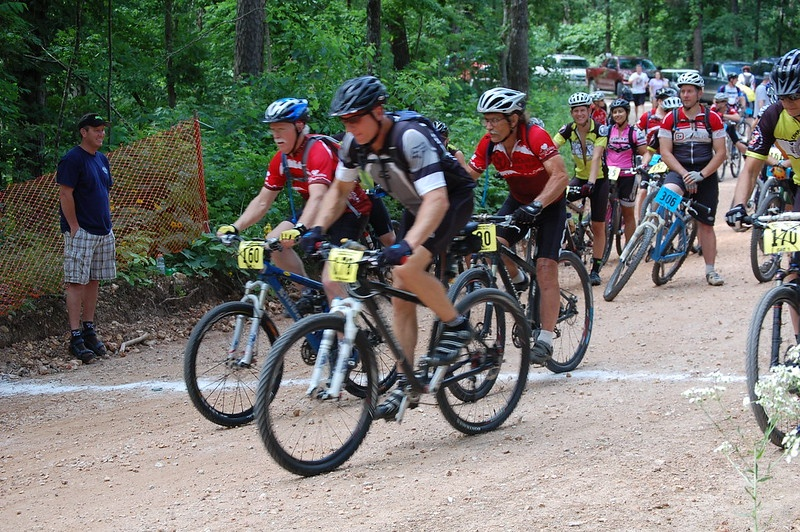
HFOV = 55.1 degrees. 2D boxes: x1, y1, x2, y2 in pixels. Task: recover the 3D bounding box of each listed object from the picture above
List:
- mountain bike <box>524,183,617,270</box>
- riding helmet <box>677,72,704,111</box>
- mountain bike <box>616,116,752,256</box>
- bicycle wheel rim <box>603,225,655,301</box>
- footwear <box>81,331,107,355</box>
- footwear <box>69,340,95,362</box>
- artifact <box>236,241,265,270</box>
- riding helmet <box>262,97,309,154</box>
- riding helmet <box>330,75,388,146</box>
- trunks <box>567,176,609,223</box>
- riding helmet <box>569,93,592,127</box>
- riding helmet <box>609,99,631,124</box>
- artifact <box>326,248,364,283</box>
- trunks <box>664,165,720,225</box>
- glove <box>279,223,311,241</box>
[{"bbox_3d":[3.207,-0.678,13.120,1.217,1.445,2.485,2,4,43],"label":"mountain bike"},{"bbox_3d":[4.141,-2.484,10.936,0.311,0.534,0.364,0,13,21],"label":"riding helmet"},{"bbox_3d":[4.022,-1.210,11.254,1.221,1.427,2.433,8,15,37],"label":"mountain bike"},{"bbox_3d":[3.540,-0.026,11.811,0.213,0.864,0.919,39,15,9],"label":"bicycle wheel rim"},{"bbox_3d":[-3.845,0.960,9.594,0.450,0.183,0.163,21,29,32],"label":"footwear"},{"bbox_3d":[-3.949,1.052,9.486,0.429,0.183,0.158,30,51,35],"label":"footwear"},{"bbox_3d":[-1.475,-0.111,7.609,0.317,0.265,0.273,3,14,4],"label":"artifact"},{"bbox_3d":[-1.218,-1.433,7.915,0.446,0.526,0.574,-2,12,39],"label":"riding helmet"},{"bbox_3d":[-0.338,-1.301,6.427,0.456,0.507,0.576,6,27,40],"label":"riding helmet"},{"bbox_3d":[3.010,-1.041,12.088,0.491,0.469,0.794,5,9,28],"label":"trunks"},{"bbox_3d":[2.726,-2.352,11.574,0.404,0.473,0.498,-4,-32,11],"label":"riding helmet"},{"bbox_3d":[3.936,-2.691,13.653,0.416,0.509,0.500,-2,32,18],"label":"riding helmet"},{"bbox_3d":[-0.472,0.000,6.386,0.289,0.263,0.075,6,-7,25],"label":"artifact"},{"bbox_3d":[4.238,-1.012,11.078,0.717,0.879,0.416,-2,13,14],"label":"trunks"},{"bbox_3d":[-1.036,-0.317,7.486,0.241,0.102,0.204,-39,-8,16],"label":"glove"}]
